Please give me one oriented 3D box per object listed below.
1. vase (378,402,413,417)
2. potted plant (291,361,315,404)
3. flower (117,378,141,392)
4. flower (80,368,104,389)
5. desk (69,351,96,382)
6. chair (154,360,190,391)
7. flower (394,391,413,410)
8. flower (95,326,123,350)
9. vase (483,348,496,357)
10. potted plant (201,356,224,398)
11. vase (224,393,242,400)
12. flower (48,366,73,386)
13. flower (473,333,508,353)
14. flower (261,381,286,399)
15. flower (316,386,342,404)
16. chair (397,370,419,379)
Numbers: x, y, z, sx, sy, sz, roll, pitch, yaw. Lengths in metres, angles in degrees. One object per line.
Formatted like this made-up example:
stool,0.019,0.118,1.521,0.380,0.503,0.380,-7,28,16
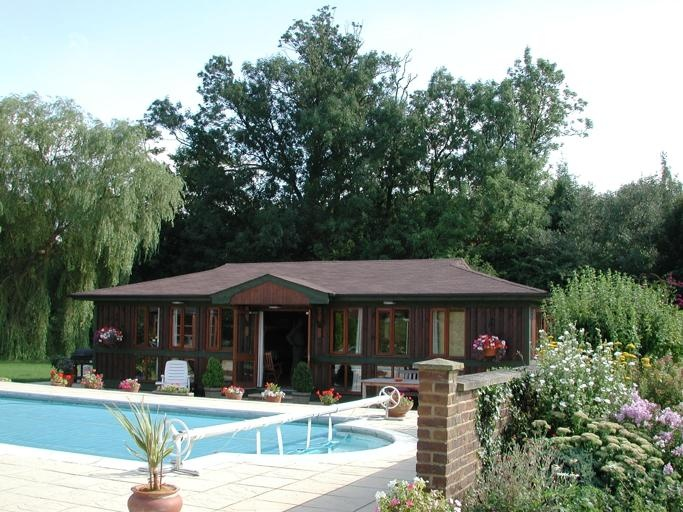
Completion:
vase,1.464,3.872,16.608,0.714,0.425,0.640,0,-8,-5
potted plant,-1.203,3.913,20.337,0.650,1.251,0.634,0,-7,-4
flower,-6.823,4.238,21.378,0.599,0.385,0.599,6,-6,-42
flower,-8.468,4.218,22.414,0.650,0.942,0.676,-2,-6,8
desk,-9.319,3.868,23.561,0.818,1.347,0.883,4,9,-20
chair,-5.370,3.845,21.215,0.944,1.525,1.028,0,-8,-4
flower,1.632,3.719,16.614,0.540,0.362,0.587,-2,-5,14
flower,-8.173,2.851,22.988,1.220,0.726,0.619,-6,-9,34
vase,4.286,2.747,18.802,0.256,0.218,0.258,0,-1,40
potted plant,-4.099,3.864,20.927,0.903,1.521,0.963,1,-3,-30
vase,-3.272,4.269,19.913,0.307,0.135,0.227,2,-7,4
flower,-9.620,4.062,22.267,0.556,0.407,0.610,3,-3,-1
flower,4.251,2.493,18.801,0.620,0.374,0.539,1,-2,20
flower,-2.042,4.084,19.529,0.516,0.523,0.679,2,-5,1
flower,-0.301,4.125,19.065,0.648,0.531,0.690,5,-6,-20
chair,1.981,3.569,19.725,0.411,0.309,0.449,0,-4,7
